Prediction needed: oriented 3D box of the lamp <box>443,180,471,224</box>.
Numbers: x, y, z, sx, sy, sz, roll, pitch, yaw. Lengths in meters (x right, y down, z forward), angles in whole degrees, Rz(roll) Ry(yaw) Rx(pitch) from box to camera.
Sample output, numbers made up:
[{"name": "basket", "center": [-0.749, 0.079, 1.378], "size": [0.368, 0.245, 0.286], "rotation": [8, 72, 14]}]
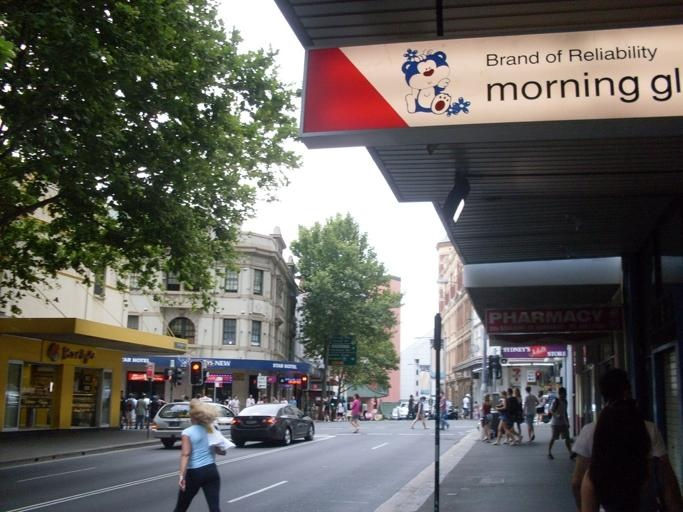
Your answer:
[{"name": "lamp", "center": [1.685, -0.820, 10.689], "size": [0.359, 0.707, 0.450], "rotation": [3, -9, 8]}]

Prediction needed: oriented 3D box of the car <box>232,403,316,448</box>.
[{"name": "car", "center": [-2.330, 6.037, 26.202], "size": [1.291, 0.822, 2.790], "rotation": [-3, -10, 21]}]

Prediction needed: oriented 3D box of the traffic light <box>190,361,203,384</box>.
[{"name": "traffic light", "center": [-6.073, 4.816, 30.269], "size": [0.488, 0.966, 0.419], "rotation": [7, -9, -16]}]

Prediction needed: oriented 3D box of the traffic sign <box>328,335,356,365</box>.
[{"name": "traffic sign", "center": [0.013, 7.166, 55.651], "size": [2.085, 2.049, 1.200], "rotation": [2, -9, 10]}]
